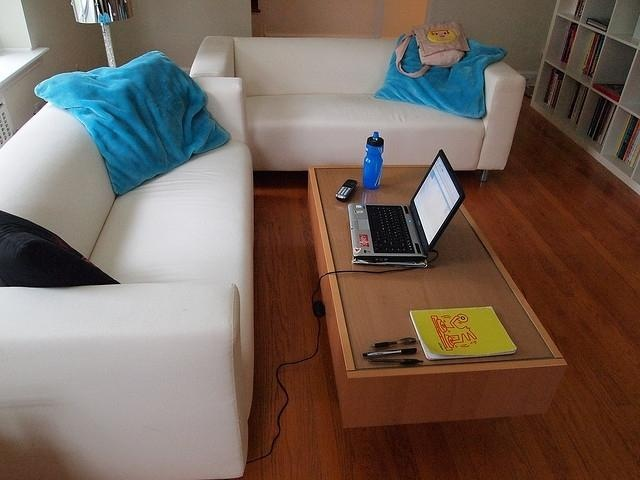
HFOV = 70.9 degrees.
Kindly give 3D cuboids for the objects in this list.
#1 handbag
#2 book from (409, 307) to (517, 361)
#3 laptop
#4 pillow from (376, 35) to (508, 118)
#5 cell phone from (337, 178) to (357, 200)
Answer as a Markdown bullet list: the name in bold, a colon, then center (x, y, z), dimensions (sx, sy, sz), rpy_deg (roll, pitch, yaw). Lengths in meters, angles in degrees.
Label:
- **handbag**: center (0.795, -1.375, 3.238), dimensions (0.438, 0.160, 0.445), rpy_deg (-18, 64, 1)
- **book**: center (0.498, 0.330, 1.599), dimensions (0.326, 0.020, 0.200), rpy_deg (-2, 44, -4)
- **laptop**: center (0.300, -0.080, 1.976), dimensions (0.447, 0.395, 0.534), rpy_deg (3, 43, -3)
- **pillow**: center (0.827, -1.100, 3.160), dimensions (0.682, 0.241, 0.733), rpy_deg (12, 60, 11)
- **cell phone**: center (0.127, -0.263, 2.255), dimensions (0.061, 0.040, 0.137), rpy_deg (11, 48, 14)
